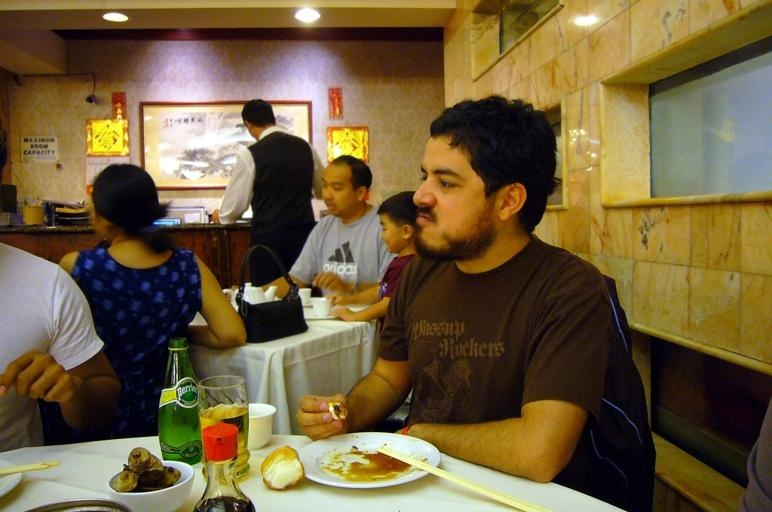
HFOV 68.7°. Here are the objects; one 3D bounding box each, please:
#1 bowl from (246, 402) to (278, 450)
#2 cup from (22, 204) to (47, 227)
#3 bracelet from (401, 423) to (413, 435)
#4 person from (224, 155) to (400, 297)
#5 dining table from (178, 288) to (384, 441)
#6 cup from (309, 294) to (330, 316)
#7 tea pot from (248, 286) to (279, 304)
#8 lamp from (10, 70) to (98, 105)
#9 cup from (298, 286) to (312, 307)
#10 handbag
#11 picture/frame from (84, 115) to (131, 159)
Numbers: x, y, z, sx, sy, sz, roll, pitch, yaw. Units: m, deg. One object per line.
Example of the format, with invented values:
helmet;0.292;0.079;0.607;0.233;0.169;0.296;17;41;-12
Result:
bowl;-0.396;0.525;1.785;0.122;0.096;0.119;0;0;0
cup;-3.474;-0.423;5.570;0.180;0.182;0.411;-3;5;-33
bracelet;0.070;0.588;1.930;0.030;0.042;0.041;20;-1;22
person;-0.463;-0.228;3.898;0.948;1.016;0.847;0;5;-36
dining table;-0.435;0.522;2.819;0.685;0.339;0.581;0;4;17
cup;-0.374;0.279;3.144;0.109;0.086;0.090;1;0;-22
tea pot;-0.690;0.211;3.121;0.124;0.084;0.078;4;-7;-21
lamp;-4.179;-2.170;7.115;0.794;0.147;0.312;-10;1;-39
cup;-0.487;0.241;3.479;0.081;0.111;0.126;4;10;27
handbag;-0.645;0.205;3.213;0.218;0.563;0.440;-25;-9;37
picture/frame;-3.497;-1.543;7.142;0.565;0.484;0.082;0;-2;6
